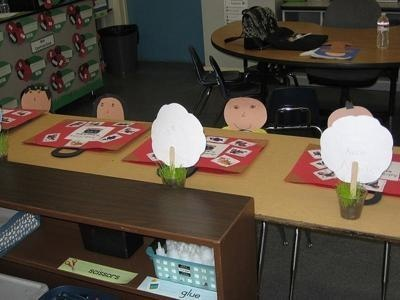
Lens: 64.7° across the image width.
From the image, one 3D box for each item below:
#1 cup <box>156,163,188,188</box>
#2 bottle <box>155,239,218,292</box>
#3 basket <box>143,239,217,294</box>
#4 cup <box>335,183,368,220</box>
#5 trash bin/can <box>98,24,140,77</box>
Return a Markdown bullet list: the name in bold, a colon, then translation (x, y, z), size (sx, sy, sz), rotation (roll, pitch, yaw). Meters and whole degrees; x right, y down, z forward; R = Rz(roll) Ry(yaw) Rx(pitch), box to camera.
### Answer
- **cup**: translation (-0.114, 0.091, 1.246), size (0.085, 0.092, 0.095), rotation (1, 7, 12)
- **bottle**: translation (-0.049, 0.392, 1.126), size (0.219, 0.077, 0.145), rotation (6, 23, 18)
- **basket**: translation (-0.056, 0.403, 1.101), size (0.181, 0.063, 0.119), rotation (7, 16, 25)
- **cup**: translation (0.529, 0.180, 1.132), size (0.114, 0.136, 0.120), rotation (3, -2, 0)
- **trash bin/can**: translation (-1.421, -1.808, 5.621), size (0.737, 0.680, 0.729), rotation (-26, 38, -34)
